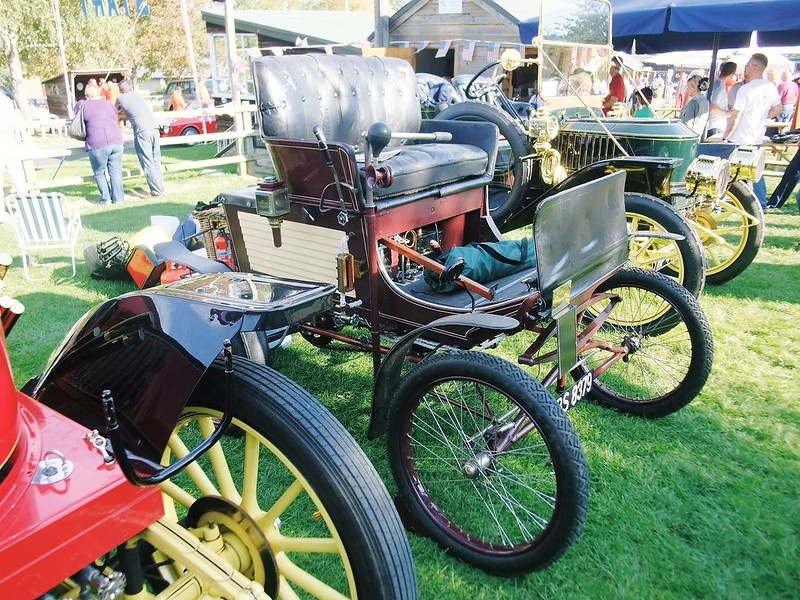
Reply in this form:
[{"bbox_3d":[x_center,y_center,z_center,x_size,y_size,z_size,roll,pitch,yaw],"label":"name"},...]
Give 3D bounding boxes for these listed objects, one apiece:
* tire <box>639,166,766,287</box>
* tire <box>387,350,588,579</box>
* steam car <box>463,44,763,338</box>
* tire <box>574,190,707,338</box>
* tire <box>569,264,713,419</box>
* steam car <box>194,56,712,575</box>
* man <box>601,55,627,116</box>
[{"bbox_3d":[3.105,-0.532,5.801,1.281,1.461,0.362,3,7,-8],"label":"tire"},{"bbox_3d":[0.404,0.798,2.682,0.198,0.901,0.840,2,-8,-38],"label":"tire"},{"bbox_3d":[1.523,-1.333,5.695,2.685,1.683,1.573,18,31,26],"label":"steam car"},{"bbox_3d":[1.703,-0.252,4.191,0.992,1.129,0.177,-4,2,-4],"label":"tire"},{"bbox_3d":[1.471,0.285,3.511,0.710,0.836,0.226,14,8,-14],"label":"tire"},{"bbox_3d":[0.116,-0.271,3.824,2.985,2.535,2.124,13,22,38],"label":"steam car"},{"bbox_3d":[2.999,-2.944,8.182,0.300,1.086,0.332,11,58,18],"label":"man"}]
